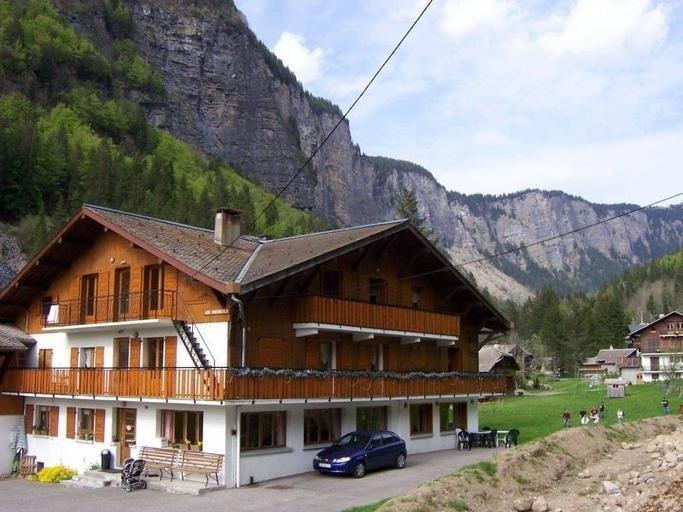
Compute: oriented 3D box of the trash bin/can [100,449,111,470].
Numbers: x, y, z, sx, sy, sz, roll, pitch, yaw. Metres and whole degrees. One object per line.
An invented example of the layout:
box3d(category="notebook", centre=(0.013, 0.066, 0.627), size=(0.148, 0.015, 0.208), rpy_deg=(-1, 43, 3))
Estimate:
box3d(category="trash bin/can", centre=(-15.468, 13.462, 48.688), size=(0.591, 1.248, 0.803), rpy_deg=(0, 0, -19))
